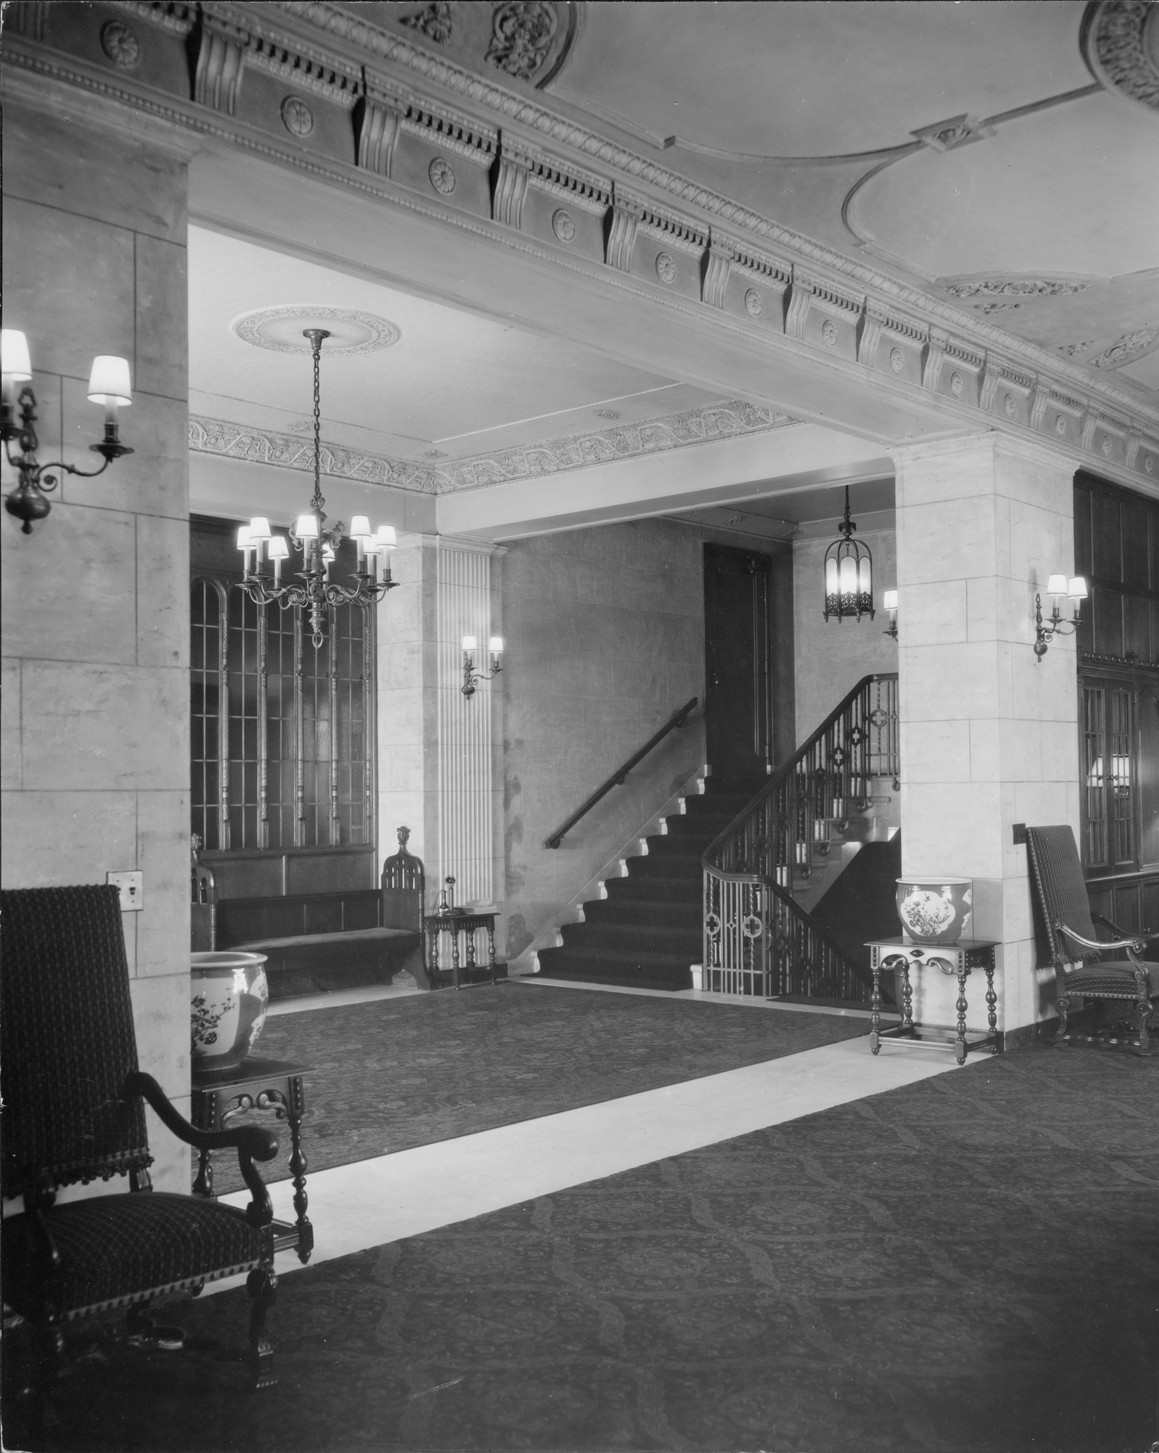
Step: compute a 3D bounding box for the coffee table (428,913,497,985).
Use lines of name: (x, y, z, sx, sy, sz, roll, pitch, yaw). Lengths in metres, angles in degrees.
coffee table: (-0.930, 1.775, 10.681, 0.518, 0.553, 0.619, -5, -4, 43)

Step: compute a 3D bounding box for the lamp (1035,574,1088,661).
lamp: (3.085, -0.664, 8.510, 0.289, 0.528, 0.613, -2, -4, 29)

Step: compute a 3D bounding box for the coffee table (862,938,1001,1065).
coffee table: (2.066, 1.499, 7.711, 0.698, 0.673, 0.581, -8, 9, 31)

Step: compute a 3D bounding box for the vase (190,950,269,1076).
vase: (-1.071, 0.879, 4.122, 0.305, 0.329, 0.293, -2, -4, -11)

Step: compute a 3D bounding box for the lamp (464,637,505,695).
lamp: (-0.769, -0.484, 11.282, 0.199, 0.536, 0.602, -3, -4, 32)

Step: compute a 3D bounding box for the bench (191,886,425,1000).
bench: (-1.984, 1.648, 10.195, 1.665, 0.794, 0.544, 3, -6, -44)
